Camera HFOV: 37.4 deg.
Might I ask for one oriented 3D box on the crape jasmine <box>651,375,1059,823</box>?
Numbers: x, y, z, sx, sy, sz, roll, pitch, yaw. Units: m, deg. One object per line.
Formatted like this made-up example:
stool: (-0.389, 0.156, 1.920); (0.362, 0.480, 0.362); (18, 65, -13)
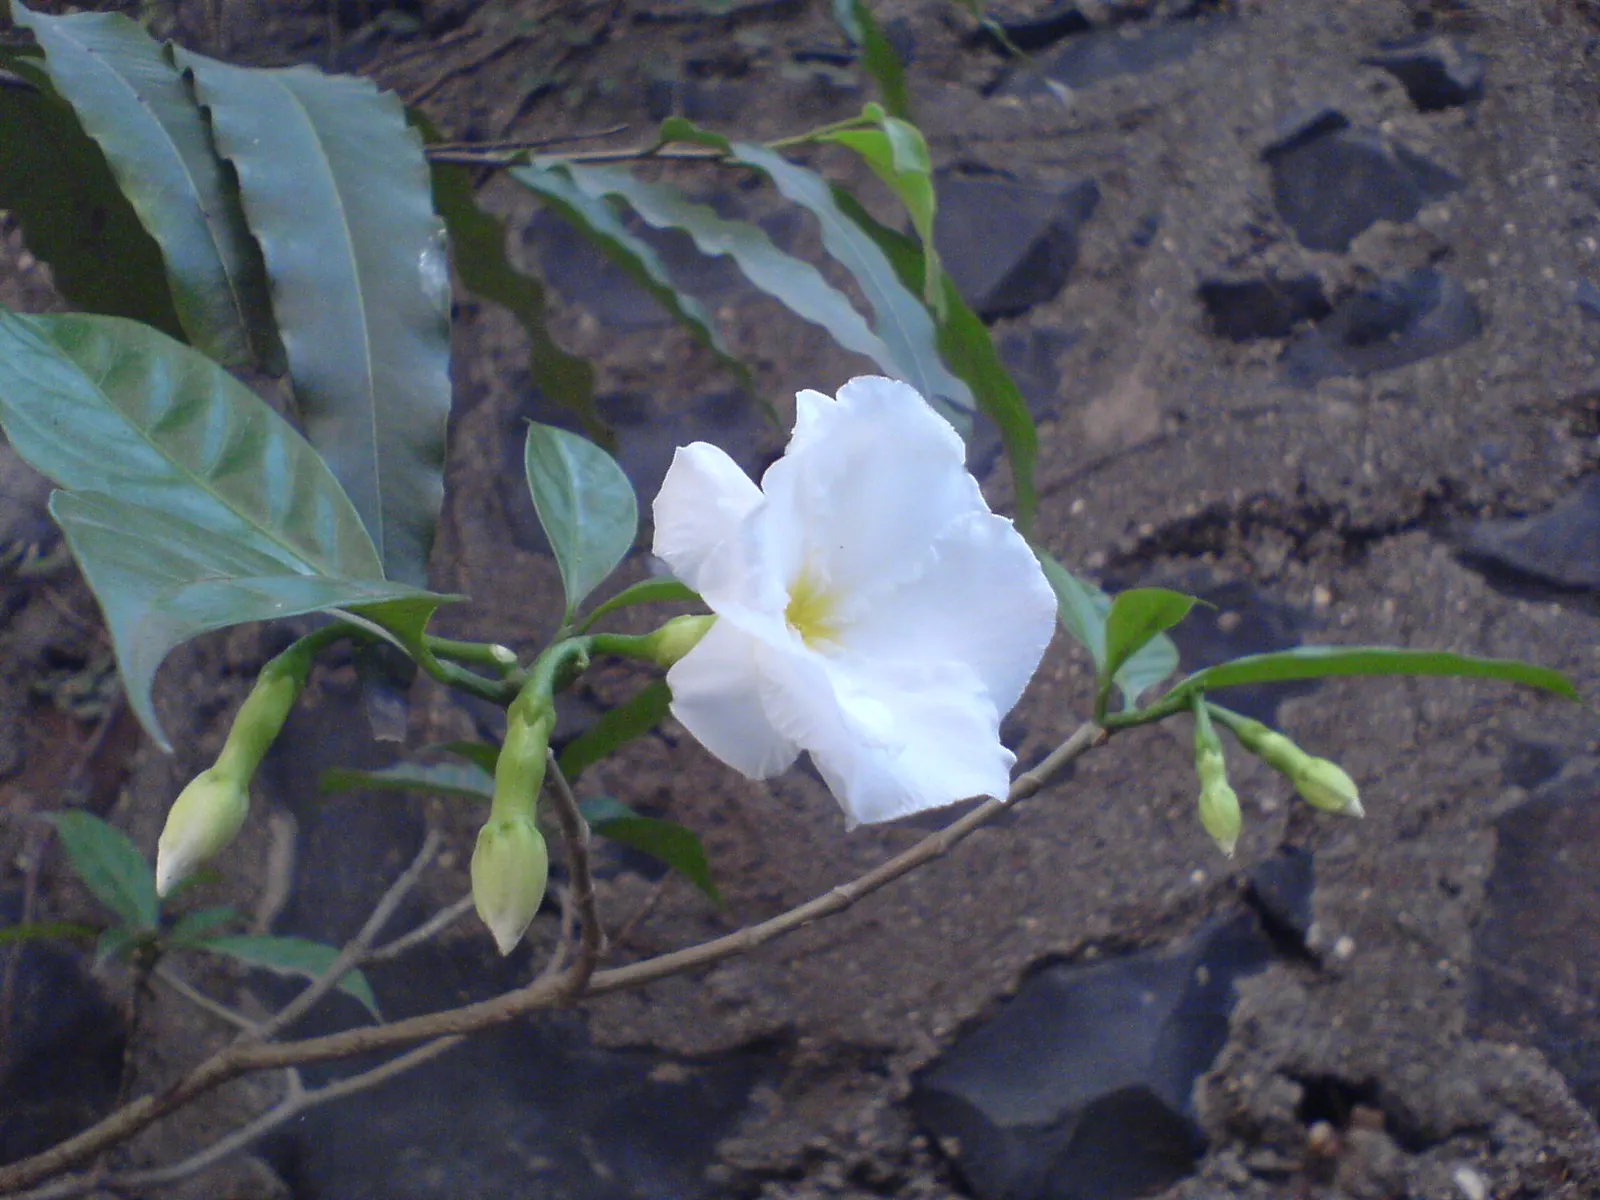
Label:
crape jasmine: (0.059, -0.003, 2.980); (0.466, 0.333, 0.501); (12, 57, 20)

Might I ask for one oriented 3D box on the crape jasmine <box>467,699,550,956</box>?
crape jasmine: (-0.353, 0.301, 2.962); (0.087, 0.229, 0.269); (2, 54, 13)

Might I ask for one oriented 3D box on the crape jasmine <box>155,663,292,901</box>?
crape jasmine: (-0.816, 0.266, 3.331); (0.096, 0.093, 0.373); (13, 67, 36)
